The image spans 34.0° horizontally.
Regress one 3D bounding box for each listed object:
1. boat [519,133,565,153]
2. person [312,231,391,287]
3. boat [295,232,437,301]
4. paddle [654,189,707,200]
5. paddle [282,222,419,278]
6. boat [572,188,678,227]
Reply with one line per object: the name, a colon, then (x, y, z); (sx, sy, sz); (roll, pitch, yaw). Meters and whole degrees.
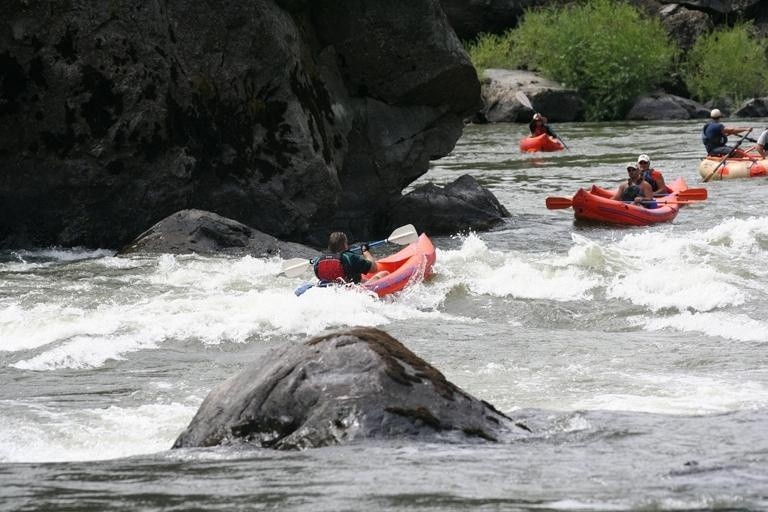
boat: (4.408, -3.145, 34.659); (1.204, 0.435, 1.418); (0, -2, 5)
person: (-0.563, 0.067, 20.656); (0.887, 1.203, 0.675); (7, 46, 16)
boat: (0.208, 0.104, 20.334); (0.880, 0.427, 2.538); (0, 13, 30)
paddle: (6.277, -1.250, 25.327); (1.551, 0.260, 0.312); (0, -3, 6)
paddle: (-0.633, -0.202, 21.820); (2.965, 0.449, 0.535); (-3, 0, 35)
boat: (4.839, -0.927, 24.326); (1.508, 0.388, 0.963); (-2, 8, -20)
